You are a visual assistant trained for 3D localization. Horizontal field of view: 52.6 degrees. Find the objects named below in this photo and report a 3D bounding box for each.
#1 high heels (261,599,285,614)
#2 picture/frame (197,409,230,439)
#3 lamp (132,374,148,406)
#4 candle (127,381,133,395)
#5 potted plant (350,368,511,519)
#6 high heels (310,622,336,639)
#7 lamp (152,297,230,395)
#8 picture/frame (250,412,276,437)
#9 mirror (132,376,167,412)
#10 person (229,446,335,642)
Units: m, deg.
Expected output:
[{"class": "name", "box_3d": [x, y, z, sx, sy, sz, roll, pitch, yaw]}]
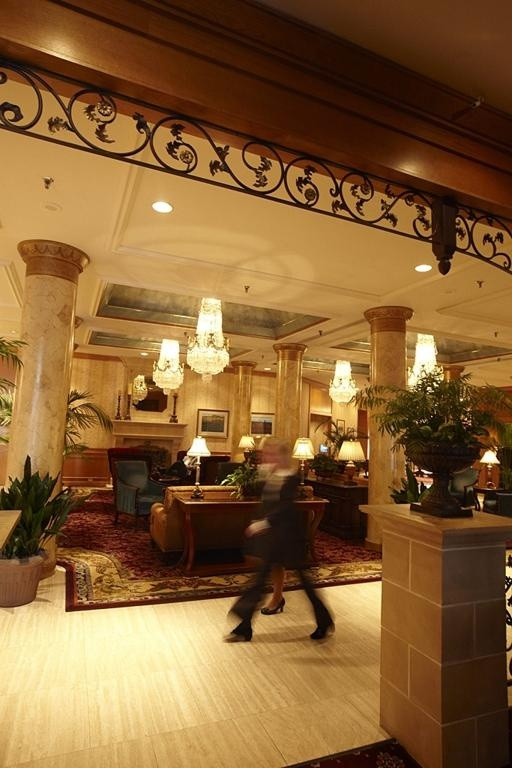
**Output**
[{"class": "high heels", "box_3d": [0.146, 1.982, 4.544, 0.243, 0.126, 0.082, 15, -23, -33]}, {"class": "picture/frame", "box_3d": [-1.304, 1.168, 15.152, 0.982, 0.846, 0.096, 2, -6, -32]}, {"class": "lamp", "box_3d": [-3.069, 0.147, 13.807, 0.431, 0.805, 0.531, 4, -6, -17]}, {"class": "candle", "box_3d": [-3.334, 0.114, 13.825, 0.110, 0.396, 0.129, 6, -7, -34]}, {"class": "potted plant", "box_3d": [1.074, 0.308, 3.003, 0.876, 0.832, 0.885, 4, -11, -14]}, {"class": "high heels", "box_3d": [0.498, 1.926, 4.019, 0.249, 0.096, 0.080, 15, -28, -40]}, {"class": "lamp", "box_3d": [-1.268, -0.729, 9.382, 0.752, 1.650, 1.718, 4, -7, -28]}, {"class": "picture/frame", "box_3d": [0.149, 1.257, 15.789, 0.901, 0.777, 0.130, 1, -4, -24]}, {"class": "mirror", "box_3d": [-2.784, 0.255, 13.334, 0.882, 0.859, 0.469, 5, -9, -39]}, {"class": "person", "box_3d": [0.197, 1.195, 3.974, 0.770, 1.491, 0.438, 3, -6, -2]}]
